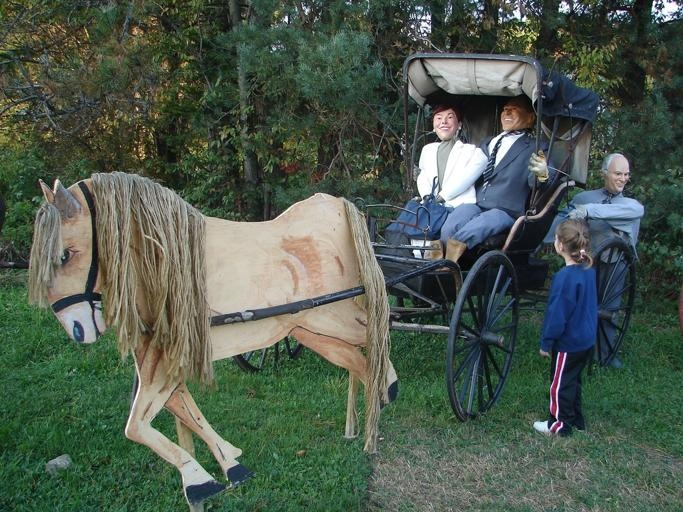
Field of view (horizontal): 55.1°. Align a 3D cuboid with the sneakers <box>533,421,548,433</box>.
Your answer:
[{"bbox_3d":[1.751,1.497,5.735,0.119,0.049,0.068,1,3,-30],"label":"sneakers"}]

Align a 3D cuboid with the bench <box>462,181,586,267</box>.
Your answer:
[{"bbox_3d":[1.717,-0.313,6.383,1.048,0.781,0.618,-4,4,-23],"label":"bench"}]

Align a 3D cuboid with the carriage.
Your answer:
[{"bbox_3d":[0.149,-0.258,7.552,7.380,4.628,2.778,-6,6,-43],"label":"carriage"}]

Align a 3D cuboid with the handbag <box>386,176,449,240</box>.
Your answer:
[{"bbox_3d":[0.792,-0.425,6.506,0.578,0.609,0.396,-4,13,-34],"label":"handbag"}]

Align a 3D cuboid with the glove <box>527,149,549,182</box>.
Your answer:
[{"bbox_3d":[1.915,-0.866,6.357,0.184,0.301,0.078,-14,-3,13],"label":"glove"}]
